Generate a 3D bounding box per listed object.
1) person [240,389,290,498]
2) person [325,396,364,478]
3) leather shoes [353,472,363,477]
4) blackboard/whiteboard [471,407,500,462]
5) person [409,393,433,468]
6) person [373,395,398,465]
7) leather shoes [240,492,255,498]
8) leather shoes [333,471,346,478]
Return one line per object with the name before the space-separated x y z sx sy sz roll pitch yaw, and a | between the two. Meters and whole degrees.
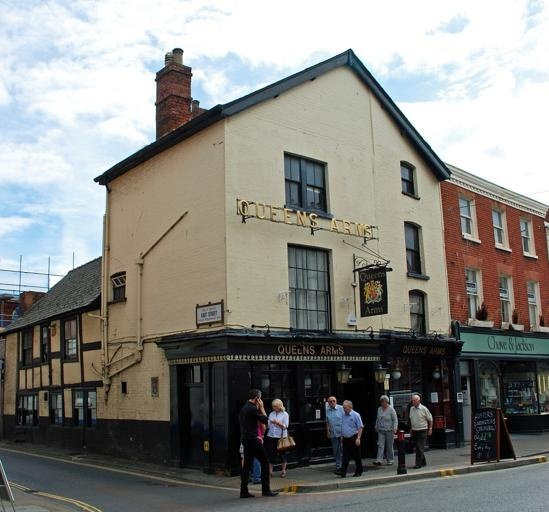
person | -0.378 3.764 12.735 0.705 2.088 0.778 -3 -14 -1
person | 1.769 4.313 14.999 0.663 1.723 0.954 -5 -14 5
leather shoes | 1.925 5.063 14.613 0.210 0.089 0.085 7 -23 -19
blackboard/whiteboard | 5.273 4.506 15.995 0.722 1.419 0.515 -2 12 0
person | 3.840 4.540 16.496 0.559 1.805 1.514 -6 -15 11
person | 2.886 4.593 16.643 0.658 1.765 1.375 -5 -15 5
leather shoes | -0.529 4.668 12.322 0.301 0.135 0.102 1 -6 -20
leather shoes | 1.520 5.047 14.581 0.278 0.212 0.098 0 -17 37
